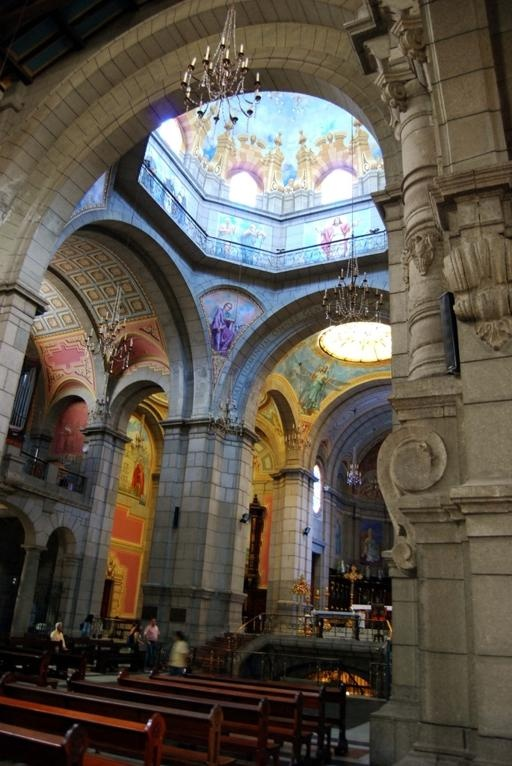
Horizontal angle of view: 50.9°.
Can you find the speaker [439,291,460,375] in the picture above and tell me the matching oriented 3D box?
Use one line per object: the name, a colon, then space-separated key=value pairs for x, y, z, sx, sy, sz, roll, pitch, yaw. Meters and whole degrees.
speaker: x=1.334 y=-0.362 z=3.679 sx=0.075 sy=0.578 sz=0.161 roll=10 pitch=-23 yaw=-12
